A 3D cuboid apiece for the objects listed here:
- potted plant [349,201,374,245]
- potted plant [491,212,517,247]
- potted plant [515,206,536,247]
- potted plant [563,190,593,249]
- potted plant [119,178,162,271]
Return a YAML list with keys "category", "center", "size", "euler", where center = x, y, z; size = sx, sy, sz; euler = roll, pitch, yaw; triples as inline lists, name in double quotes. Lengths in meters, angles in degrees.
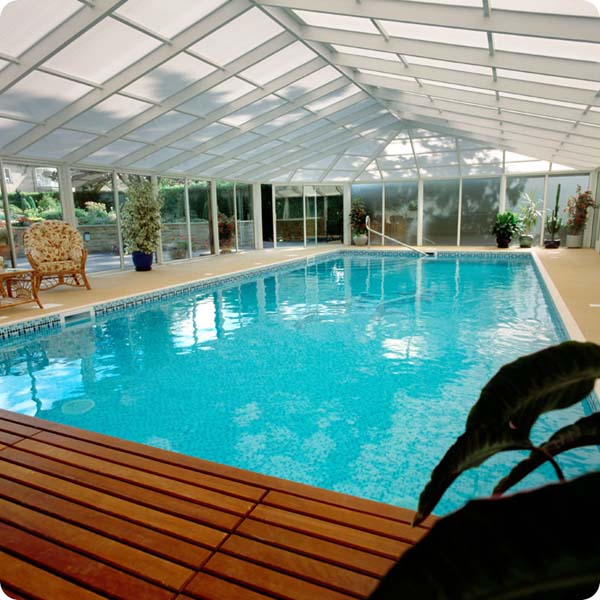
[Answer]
- category: "potted plant"
  center: [2.937, -3.691, 21.333]
  size: [1.067, 2.096, 1.808]
  euler: [-4, 11, 8]
- category: "potted plant"
  center: [8.178, -2.756, 17.758]
  size: [0.877, 1.367, 0.354]
  euler: [0, 14, 21]
- category: "potted plant"
  center: [9.218, -2.967, 18.052]
  size: [0.686, 1.617, 1.321]
  euler: [1, 13, 27]
- category: "potted plant"
  center: [10.723, -3.156, 17.118]
  size: [0.860, 2.230, 2.177]
  euler: [1, 13, 29]
- category: "potted plant"
  center: [-4.453, -2.076, 12.642]
  size: [1.120, 2.532, 0.571]
  euler: [-9, 13, -16]
